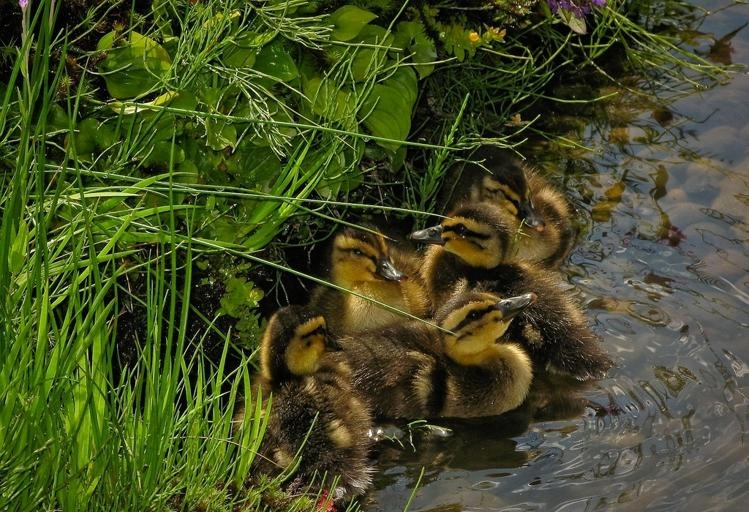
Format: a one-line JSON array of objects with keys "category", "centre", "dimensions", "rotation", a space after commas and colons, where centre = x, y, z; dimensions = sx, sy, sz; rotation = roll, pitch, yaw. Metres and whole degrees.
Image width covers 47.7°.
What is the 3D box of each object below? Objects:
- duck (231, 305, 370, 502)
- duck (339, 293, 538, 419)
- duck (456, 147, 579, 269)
[{"category": "duck", "centre": [-0.295, 0.775, 4.094], "dimensions": [0.537, 0.961, 0.663], "rotation": [-2, 31, 5]}, {"category": "duck", "centre": [0.333, 0.518, 4.282], "dimensions": [1.018, 0.229, 0.601], "rotation": [-3, 53, -1]}, {"category": "duck", "centre": [0.827, -0.300, 4.945], "dimensions": [0.543, 0.477, 0.753], "rotation": [-40, 97, -3]}]
